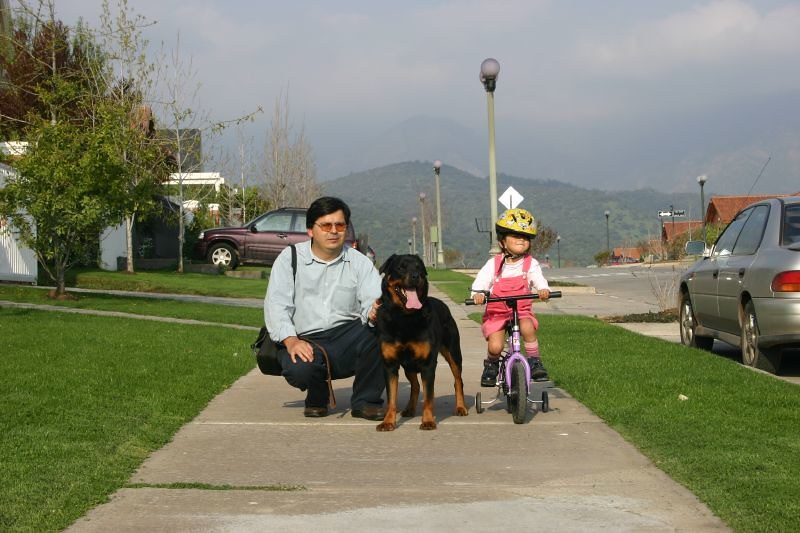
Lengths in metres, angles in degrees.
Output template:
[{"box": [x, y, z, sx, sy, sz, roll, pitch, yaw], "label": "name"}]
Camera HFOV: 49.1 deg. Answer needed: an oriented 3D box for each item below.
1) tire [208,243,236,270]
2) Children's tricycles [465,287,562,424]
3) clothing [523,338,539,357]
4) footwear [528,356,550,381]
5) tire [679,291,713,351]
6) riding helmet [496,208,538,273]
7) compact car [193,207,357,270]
[{"box": [-5.859, -0.343, 28.807, 0.727, 0.801, 0.245, 2, 15, 19], "label": "tire"}, {"box": [1.337, 1.017, 10.086, 0.916, 1.575, 0.957, 1, 9, 5], "label": "Children's tricycles"}, {"box": [1.529, 0.959, 10.269, 0.170, 0.190, 0.174, -6, 3, 3], "label": "clothing"}, {"box": [1.622, 1.230, 10.313, 0.144, 0.185, 0.413, 0, -9, -4], "label": "footwear"}, {"box": [4.796, 0.902, 14.061, 0.272, 0.902, 0.860, 2, -8, -14], "label": "tire"}, {"box": [1.341, -0.346, 10.136, 0.449, 0.611, 0.595, 7, -1, -20], "label": "riding helmet"}, {"box": [-4.420, -0.829, 27.718, 4.946, 2.325, 2.391, 3, 3, 13], "label": "compact car"}]
